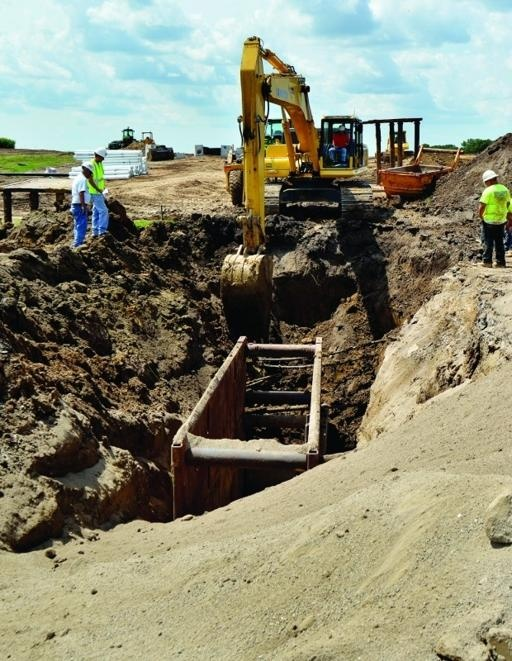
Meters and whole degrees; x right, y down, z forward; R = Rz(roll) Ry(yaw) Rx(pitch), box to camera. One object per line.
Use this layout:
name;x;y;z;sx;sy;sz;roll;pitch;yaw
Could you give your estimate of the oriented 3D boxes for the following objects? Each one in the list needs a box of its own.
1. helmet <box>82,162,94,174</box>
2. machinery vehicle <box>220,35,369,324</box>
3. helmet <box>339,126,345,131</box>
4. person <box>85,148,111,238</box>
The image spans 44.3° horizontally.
helmet;-2.674;-2.603;9.991;0.161;0.226;0.347;-3;4;-15
machinery vehicle;1.516;-3.231;11.801;1.935;3.754;7.005;3;22;9
helmet;2.041;-4.818;14.925;0.083;0.107;0.110;-2;8;7
person;-2.532;-2.227;10.053;0.287;1.417;0.661;-3;5;-15
